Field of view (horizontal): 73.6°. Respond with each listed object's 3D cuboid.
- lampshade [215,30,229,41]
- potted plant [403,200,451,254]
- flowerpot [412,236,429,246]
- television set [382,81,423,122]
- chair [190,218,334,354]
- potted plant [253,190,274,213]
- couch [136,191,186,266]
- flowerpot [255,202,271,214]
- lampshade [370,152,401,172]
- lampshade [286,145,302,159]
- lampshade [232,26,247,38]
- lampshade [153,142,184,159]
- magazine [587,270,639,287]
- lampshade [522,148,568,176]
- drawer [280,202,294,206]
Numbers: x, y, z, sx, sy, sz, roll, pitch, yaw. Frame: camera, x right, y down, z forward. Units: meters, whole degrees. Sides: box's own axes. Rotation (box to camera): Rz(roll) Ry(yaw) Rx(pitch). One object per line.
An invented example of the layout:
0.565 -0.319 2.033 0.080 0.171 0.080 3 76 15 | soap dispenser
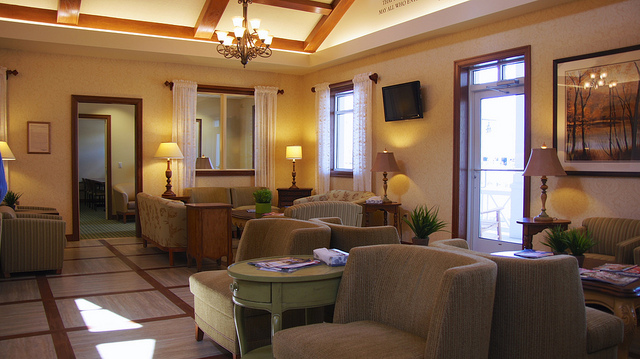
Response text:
-1.773 -2.604 7.716 0.164 0.210 0.300 -1 1 -7 | lampshade
1.710 0.796 6.780 0.607 0.720 0.694 0 -3 -35 | potted plant
1.600 0.983 6.827 0.240 0.131 0.226 0 1 -28 | flowerpot
1.686 -1.669 9.148 1.187 0.771 0.145 -16 17 -35 | television set
-0.851 1.245 5.607 1.734 1.511 1.698 2 -4 -29 | chair
-1.016 0.393 8.050 0.376 0.391 0.309 -5 0 0 | potted plant
-3.168 1.021 8.500 0.838 0.901 1.490 0 2 -38 | couch
-1.068 0.530 7.993 0.224 0.142 0.215 2 1 29 | flowerpot
1.406 -0.352 9.053 0.487 0.438 0.479 0 1 3 | lampshade
-0.699 -0.720 11.121 0.374 0.237 0.349 0 1 15 | lampshade
-1.423 -2.611 7.573 0.204 0.211 0.318 -1 1 -5 | lampshade
-3.573 -0.679 10.030 0.494 0.224 0.458 0 1 12 | lampshade
3.395 1.147 4.966 0.507 0.091 0.320 -1 1 -32 | magazine
3.608 -0.249 6.907 0.543 0.349 0.526 -1 0 37 | lampshade
-0.846 0.616 10.855 0.411 0.100 0.104 0 2 37 | drawer
